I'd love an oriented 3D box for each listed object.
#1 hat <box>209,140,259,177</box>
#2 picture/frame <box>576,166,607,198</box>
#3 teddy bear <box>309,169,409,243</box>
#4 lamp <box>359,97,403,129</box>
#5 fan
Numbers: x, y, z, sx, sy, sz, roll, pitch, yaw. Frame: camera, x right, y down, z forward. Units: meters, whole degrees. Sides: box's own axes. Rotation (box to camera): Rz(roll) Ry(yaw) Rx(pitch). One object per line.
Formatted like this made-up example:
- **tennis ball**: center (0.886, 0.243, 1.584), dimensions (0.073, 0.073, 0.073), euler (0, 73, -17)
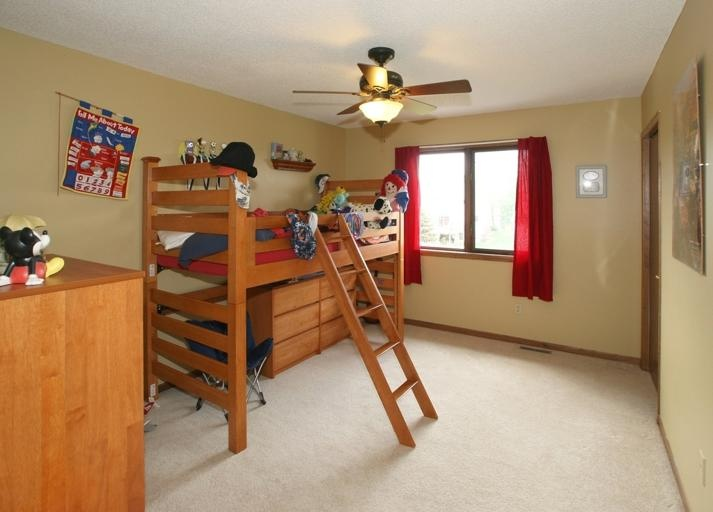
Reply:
- **hat**: center (-0.895, -0.719, 3.871), dimensions (0.263, 0.166, 0.301), euler (28, 5, -9)
- **picture/frame**: center (2.487, -0.798, 5.450), dimensions (0.359, 0.406, 0.028), euler (2, 2, 38)
- **teddy bear**: center (-0.045, -0.565, 5.859), dimensions (1.255, 0.773, 0.761), euler (3, 5, 40)
- **lamp**: center (0.185, -1.117, 3.992), dimensions (0.226, 0.103, 0.221), euler (0, -5, -1)
- **fan**: center (0.331, -1.344, 4.054), dimensions (0.799, 0.590, 0.992), euler (-2, 7, -9)
